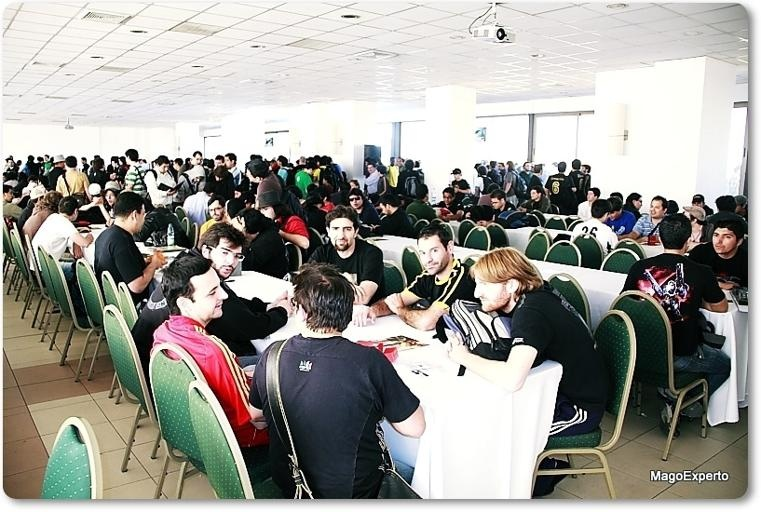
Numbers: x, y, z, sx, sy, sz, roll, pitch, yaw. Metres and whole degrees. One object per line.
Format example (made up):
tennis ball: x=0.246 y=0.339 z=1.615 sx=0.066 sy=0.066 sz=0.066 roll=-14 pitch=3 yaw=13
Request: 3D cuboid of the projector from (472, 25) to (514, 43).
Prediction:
projector: x=1.341 y=-2.594 z=5.895 sx=0.325 sy=0.149 sz=0.322 roll=-6 pitch=15 yaw=-32

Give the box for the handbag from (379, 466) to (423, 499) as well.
handbag: x=0.088 y=1.013 z=2.200 sx=0.139 sy=0.053 sz=0.140 roll=31 pitch=27 yaw=22

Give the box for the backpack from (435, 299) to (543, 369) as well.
backpack: x=0.563 y=0.383 z=2.694 sx=0.341 sy=0.157 sz=0.404 roll=-15 pitch=24 yaw=-19

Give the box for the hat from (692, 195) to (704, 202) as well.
hat: x=4.896 y=-0.888 z=7.722 sx=0.132 sy=0.137 sz=0.173 roll=9 pitch=18 yaw=28

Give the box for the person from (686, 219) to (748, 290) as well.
person: x=3.080 y=0.002 z=4.475 sx=0.699 sy=0.632 sz=0.406 roll=-2 pitch=0 yaw=41

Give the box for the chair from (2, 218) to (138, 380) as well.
chair: x=-2.894 y=0.411 z=4.667 sx=0.455 sy=0.711 sz=1.383 roll=-6 pitch=25 yaw=-42

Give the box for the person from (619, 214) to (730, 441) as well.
person: x=2.205 y=0.544 z=3.797 sx=0.777 sy=1.679 sz=0.610 roll=4 pitch=8 yaw=32

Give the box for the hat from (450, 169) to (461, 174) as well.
hat: x=1.890 y=-2.092 z=12.384 sx=0.142 sy=0.133 sz=0.229 roll=-1 pitch=13 yaw=-7

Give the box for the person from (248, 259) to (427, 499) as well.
person: x=-0.196 y=0.610 z=2.387 sx=0.739 sy=1.047 sz=0.702 roll=10 pitch=36 yaw=17

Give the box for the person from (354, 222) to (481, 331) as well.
person: x=0.355 y=0.109 z=3.463 sx=0.875 sy=0.625 sz=0.529 roll=-7 pitch=13 yaw=-27

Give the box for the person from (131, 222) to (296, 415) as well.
person: x=-0.981 y=0.241 z=3.259 sx=1.093 sy=1.079 sz=0.804 roll=-11 pitch=30 yaw=-29

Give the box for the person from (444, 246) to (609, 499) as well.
person: x=0.815 y=0.448 z=3.214 sx=1.062 sy=1.548 sz=0.862 roll=0 pitch=6 yaw=7

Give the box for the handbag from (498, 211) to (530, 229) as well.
handbag: x=1.974 y=-0.531 z=7.492 sx=0.285 sy=0.138 sz=0.395 roll=-2 pitch=8 yaw=1
